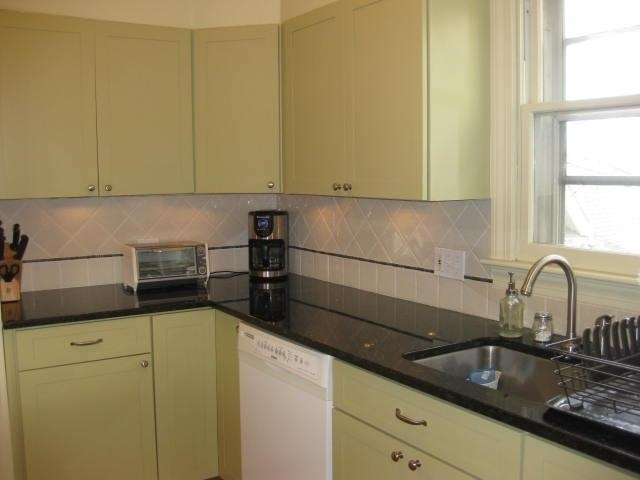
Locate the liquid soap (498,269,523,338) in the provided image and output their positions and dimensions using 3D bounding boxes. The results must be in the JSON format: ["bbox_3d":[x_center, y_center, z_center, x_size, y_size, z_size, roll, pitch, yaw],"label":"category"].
[{"bbox_3d":[0.787,0.261,2.105,0.092,0.253,0.148,2,10,20],"label":"liquid soap"}]

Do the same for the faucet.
[{"bbox_3d":[0.763,0.256,1.734,0.165,0.404,0.197,1,12,-12],"label":"faucet"}]

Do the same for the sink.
[{"bbox_3d":[0.659,0.467,1.816,0.273,0.187,0.274,-4,5,-37],"label":"sink"}]

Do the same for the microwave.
[{"bbox_3d":[-0.946,0.119,3.095,0.421,0.309,0.296,-4,12,-33],"label":"microwave"}]
